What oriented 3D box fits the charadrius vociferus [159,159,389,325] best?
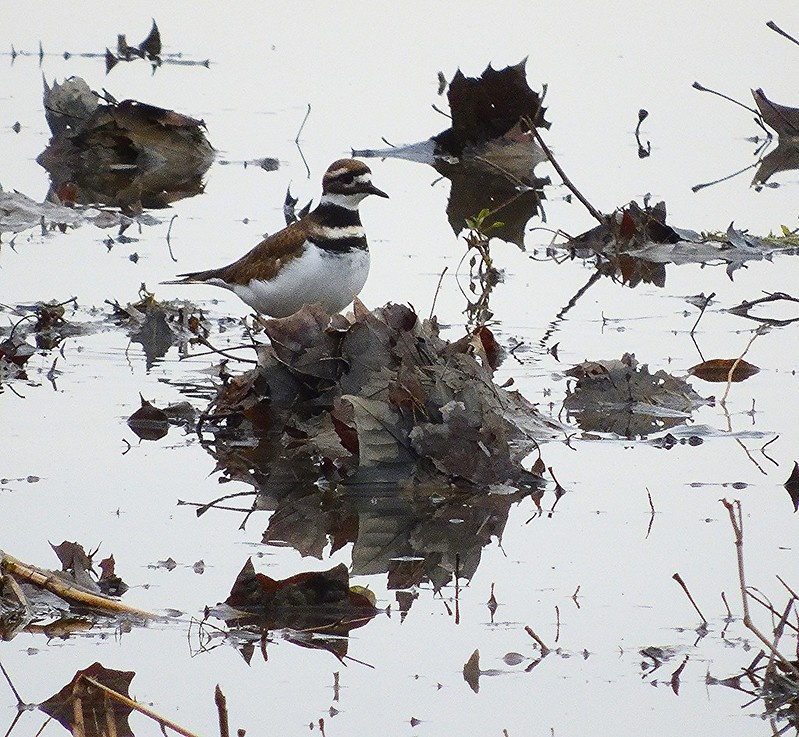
[{"bbox_3d":[-0.666,-0.633,7.921,1.160,0.881,0.506,0,6,17],"label":"charadrius vociferus"}]
